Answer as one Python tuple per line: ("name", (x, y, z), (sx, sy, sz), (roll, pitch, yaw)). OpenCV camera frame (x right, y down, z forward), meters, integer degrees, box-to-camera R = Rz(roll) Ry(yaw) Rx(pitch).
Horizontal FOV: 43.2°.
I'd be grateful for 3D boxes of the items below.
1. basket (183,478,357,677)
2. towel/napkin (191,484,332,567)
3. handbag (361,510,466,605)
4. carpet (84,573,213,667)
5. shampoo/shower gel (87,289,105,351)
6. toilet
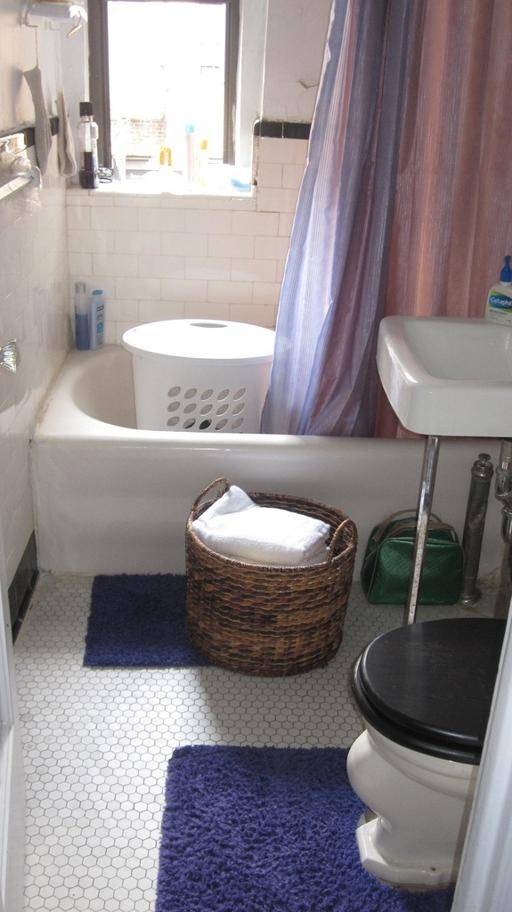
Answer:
("basket", (0.019, 0.356, 1.647), (0.427, 0.412, 0.269), (7, 25, 10))
("towel/napkin", (0.007, 0.191, 1.618), (0.223, 0.098, 0.184), (11, 24, 21))
("handbag", (0.472, 0.306, 1.978), (0.244, 0.287, 0.275), (0, 21, 5))
("carpet", (-0.335, 0.468, 1.831), (0.317, 0.392, 0.009), (12, 28, -18))
("shampoo/shower gel", (-0.681, -0.574, 2.738), (0.052, 0.297, 0.126), (7, 29, 6))
("toilet", (0.276, 0.507, 1.141), (0.230, 0.447, 0.353), (15, 27, 26))
